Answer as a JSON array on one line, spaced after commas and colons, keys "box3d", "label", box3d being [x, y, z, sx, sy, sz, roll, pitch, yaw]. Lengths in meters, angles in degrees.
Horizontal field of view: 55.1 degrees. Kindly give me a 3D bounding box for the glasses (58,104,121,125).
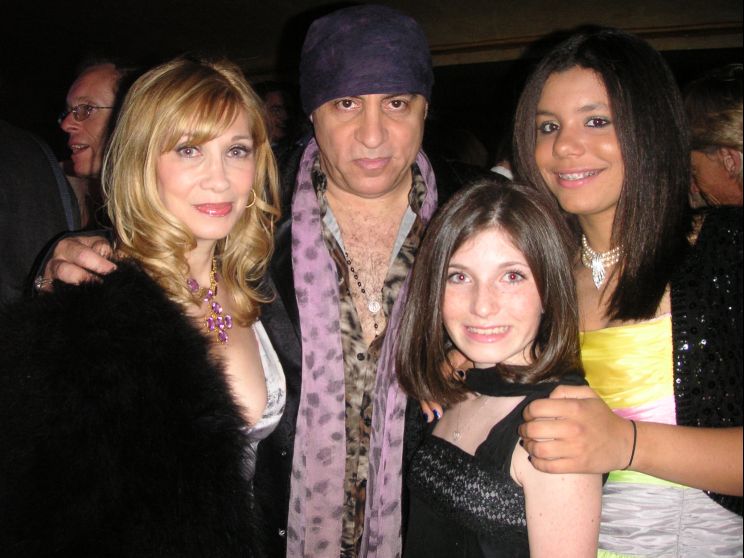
[{"box3d": [-1.803, -1.055, 4.446, 0.193, 0.058, 0.203, 1, 8, 32], "label": "glasses"}]
